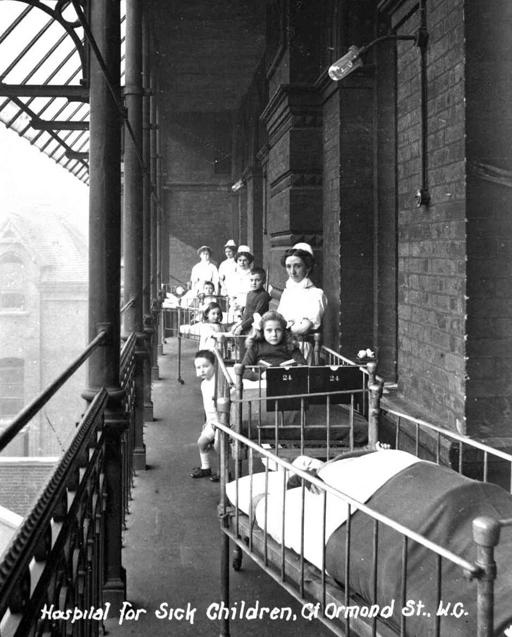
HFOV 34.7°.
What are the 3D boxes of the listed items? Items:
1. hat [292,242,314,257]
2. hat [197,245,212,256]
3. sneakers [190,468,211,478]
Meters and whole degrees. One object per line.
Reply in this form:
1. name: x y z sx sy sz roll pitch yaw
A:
1. hat: 0.447 -0.626 7.363 0.111 0.102 0.176 16 -18 26
2. hat: -0.919 -1.234 14.851 0.238 0.118 0.300 -4 -2 -11
3. sneakers: -0.385 1.095 5.725 0.138 0.081 0.059 3 -2 -10
